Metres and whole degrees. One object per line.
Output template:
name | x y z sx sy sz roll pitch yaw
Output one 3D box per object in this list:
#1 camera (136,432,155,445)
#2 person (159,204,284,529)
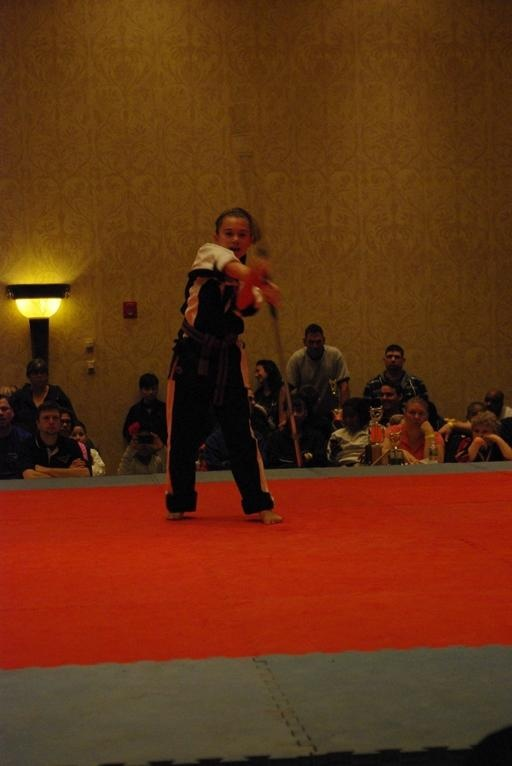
camera | -0.527 0.266 3.179 0.099 0.062 0.052 4 -9 -35
person | -0.106 -0.070 1.940 0.326 0.932 0.508 -1 1 -4
